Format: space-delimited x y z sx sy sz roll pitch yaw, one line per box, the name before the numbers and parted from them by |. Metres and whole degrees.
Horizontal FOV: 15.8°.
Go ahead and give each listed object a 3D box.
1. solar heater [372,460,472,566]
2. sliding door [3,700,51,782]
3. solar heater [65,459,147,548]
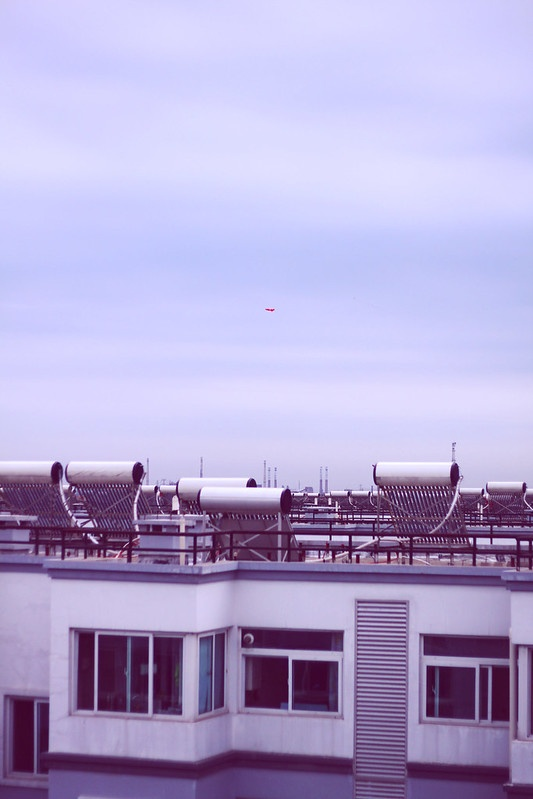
solar heater | 3.486 2.668 43.363 2.191 3.053 2.038 -6 -8 13
sliding door | -5.070 7.311 40.535 1.428 2.150 0.135 -4 -6 23
solar heater | -3.874 2.412 46.135 1.702 1.657 1.274 -2 -10 7
